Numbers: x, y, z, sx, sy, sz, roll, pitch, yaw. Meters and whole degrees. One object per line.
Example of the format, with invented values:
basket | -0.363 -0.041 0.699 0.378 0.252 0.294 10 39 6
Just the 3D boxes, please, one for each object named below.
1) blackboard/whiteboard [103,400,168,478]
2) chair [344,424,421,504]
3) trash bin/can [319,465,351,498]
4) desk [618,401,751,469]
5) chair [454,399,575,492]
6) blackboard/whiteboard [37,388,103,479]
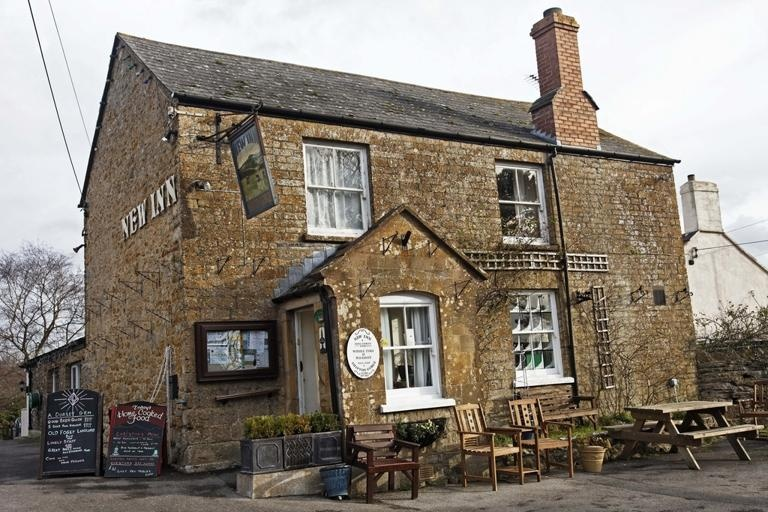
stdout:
blackboard/whiteboard | -5.213 3.858 14.998 1.215 1.575 0.270 -5 -16 6
chair | -0.024 4.027 13.895 1.176 1.323 1.091 5 -9 -26
trash bin/can | -0.910 4.343 13.779 0.642 0.581 0.671 -6 -16 -7
desk | 6.536 3.874 16.031 2.145 1.054 1.889 6 -11 -35
chair | 2.855 4.002 15.292 2.149 1.843 2.955 -11 -18 25
blackboard/whiteboard | -6.610 3.738 15.114 1.208 1.772 0.166 -1 -16 -7
